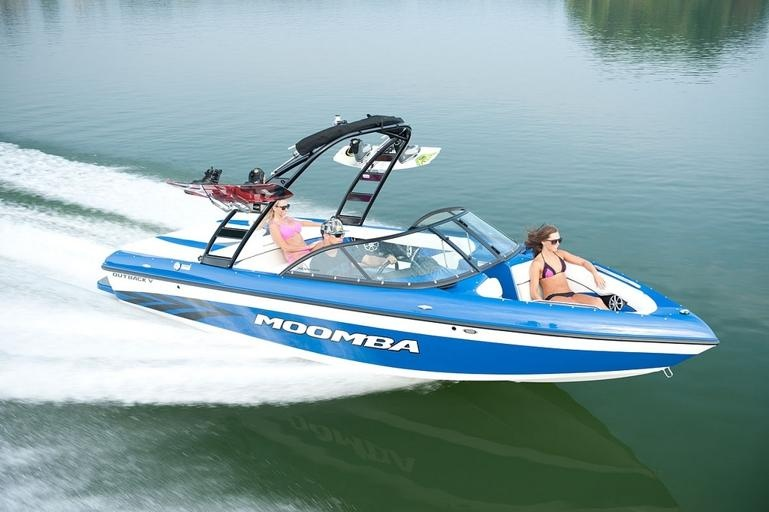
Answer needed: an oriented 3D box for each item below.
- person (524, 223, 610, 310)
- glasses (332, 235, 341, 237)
[{"bbox_3d":[2.530,0.134,8.873,1.098,1.072,1.030,0,25,7],"label":"person"},{"bbox_3d":[-0.690,-0.310,9.454,0.069,0.041,0.013,2,43,-9],"label":"glasses"}]
